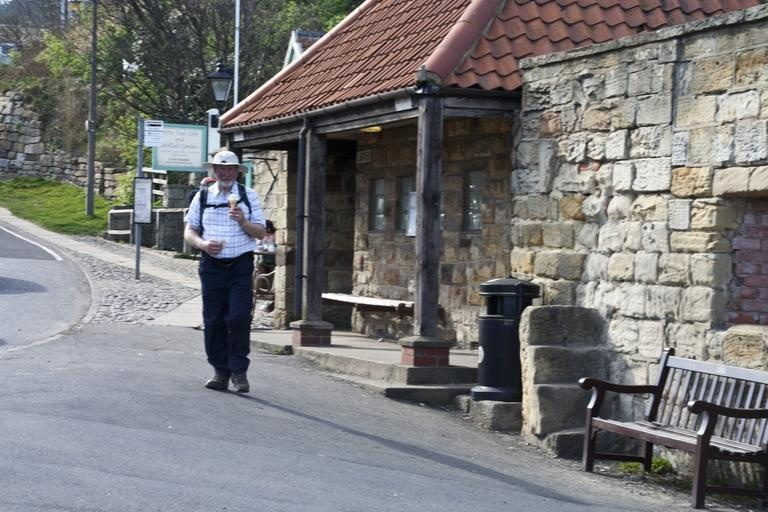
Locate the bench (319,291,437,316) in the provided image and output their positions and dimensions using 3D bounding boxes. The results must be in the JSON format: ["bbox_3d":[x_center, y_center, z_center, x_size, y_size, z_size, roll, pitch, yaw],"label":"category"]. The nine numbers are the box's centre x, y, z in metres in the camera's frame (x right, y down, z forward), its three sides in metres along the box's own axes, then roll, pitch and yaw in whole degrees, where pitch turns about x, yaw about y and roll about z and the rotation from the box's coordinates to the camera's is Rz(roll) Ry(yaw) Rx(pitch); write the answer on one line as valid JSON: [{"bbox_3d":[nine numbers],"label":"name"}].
[{"bbox_3d":[-0.194,0.794,15.346,0.731,0.358,2.210,5,0,-34],"label":"bench"}]

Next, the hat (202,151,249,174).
[{"bbox_3d":[-1.748,-1.084,10.725,0.463,0.099,0.390,0,-7,-3],"label":"hat"}]

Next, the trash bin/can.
[{"bbox_3d":[1.380,0.999,11.358,0.713,1.492,0.373,9,1,8],"label":"trash bin/can"}]
